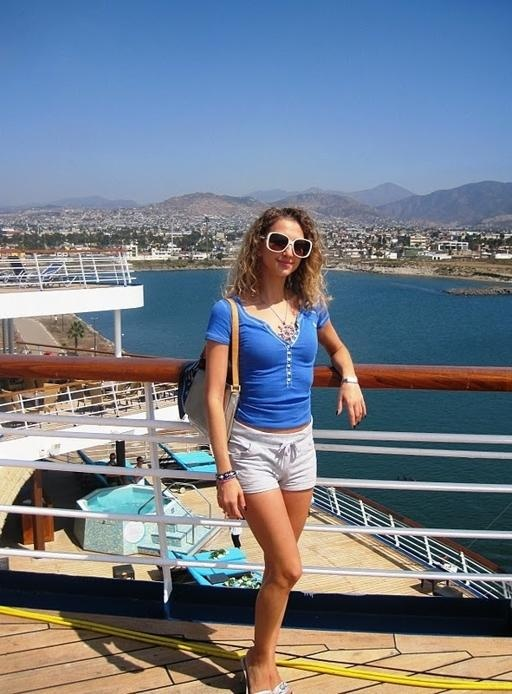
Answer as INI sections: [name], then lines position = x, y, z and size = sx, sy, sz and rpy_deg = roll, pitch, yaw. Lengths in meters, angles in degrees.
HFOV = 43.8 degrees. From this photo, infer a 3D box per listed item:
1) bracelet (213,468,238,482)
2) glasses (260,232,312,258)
[bracelet]
position = -0.077, 0.329, 1.633
size = 0.041, 0.019, 0.035
rpy_deg = -21, -1, 30
[glasses]
position = 0.098, -0.291, 1.818
size = 0.102, 0.037, 0.094
rpy_deg = 6, 0, -29
